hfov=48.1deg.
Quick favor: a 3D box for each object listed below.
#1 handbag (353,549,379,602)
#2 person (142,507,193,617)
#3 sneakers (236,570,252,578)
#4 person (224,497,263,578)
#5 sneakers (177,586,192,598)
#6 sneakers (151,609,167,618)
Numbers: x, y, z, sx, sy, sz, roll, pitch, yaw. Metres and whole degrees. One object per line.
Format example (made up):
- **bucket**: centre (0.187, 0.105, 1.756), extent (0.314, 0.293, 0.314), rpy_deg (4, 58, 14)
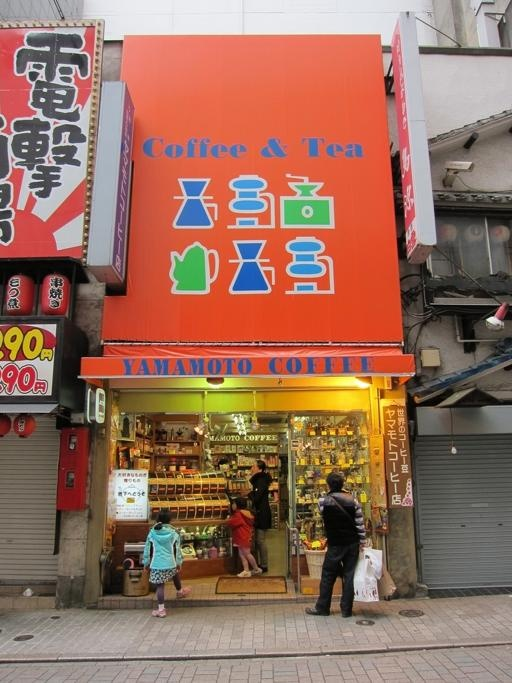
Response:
- **handbag**: centre (1.301, 2.796, 6.839), extent (0.238, 0.591, 0.384), rpy_deg (5, -36, 13)
- **person**: centre (-1.181, 2.815, 7.285), extent (0.311, 1.248, 0.470), rpy_deg (-8, -11, 38)
- **sneakers**: centre (-0.178, 3.551, 8.780), extent (0.215, 0.093, 0.090), rpy_deg (3, -12, -2)
- **person**: centre (-0.208, 3.037, 9.017), extent (0.534, 1.164, 0.601), rpy_deg (-1, -8, -1)
- **sneakers**: centre (-0.978, 3.366, 7.729), extent (0.099, 0.128, 0.291), rpy_deg (-1, 0, 25)
- **sneakers**: centre (-1.202, 3.347, 7.137), extent (0.092, 0.109, 0.242), rpy_deg (5, -9, -29)
